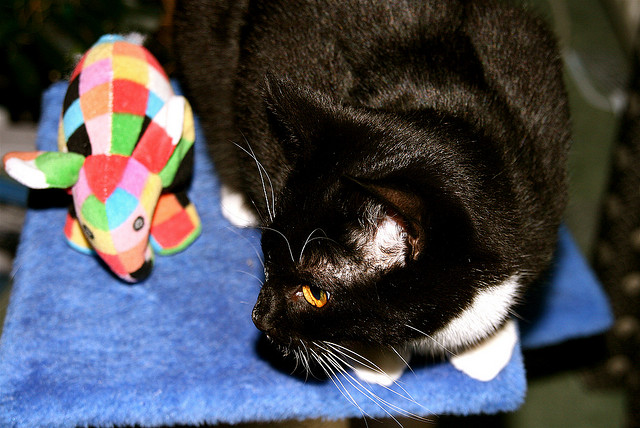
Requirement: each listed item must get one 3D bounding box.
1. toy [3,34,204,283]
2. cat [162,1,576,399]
[{"bbox_3d":[-0.562,-0.154,1.876,0.476,0.370,0.767,-5,77,-5],"label":"toy"},{"bbox_3d":[0.173,-0.094,2.092,1.156,0.647,1.099,1,57,-10],"label":"cat"}]
